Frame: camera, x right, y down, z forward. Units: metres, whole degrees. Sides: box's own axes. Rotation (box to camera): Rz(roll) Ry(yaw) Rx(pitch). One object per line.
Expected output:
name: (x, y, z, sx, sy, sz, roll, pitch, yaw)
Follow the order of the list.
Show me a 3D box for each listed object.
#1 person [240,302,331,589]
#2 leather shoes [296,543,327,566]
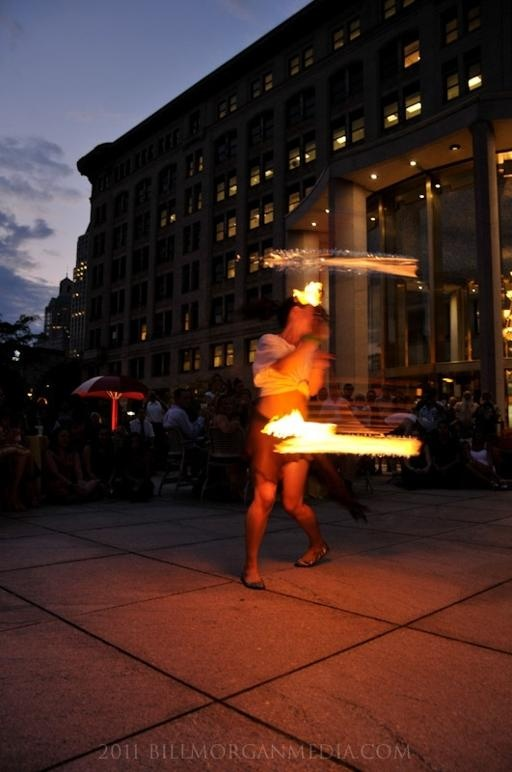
person: (0.212, 0.312, 3.904, 0.565, 1.768, 0.797, 0, -4, 0)
leather shoes: (0.398, 1.148, 4.139, 0.098, 0.125, 0.298, -25, -17, 29)
